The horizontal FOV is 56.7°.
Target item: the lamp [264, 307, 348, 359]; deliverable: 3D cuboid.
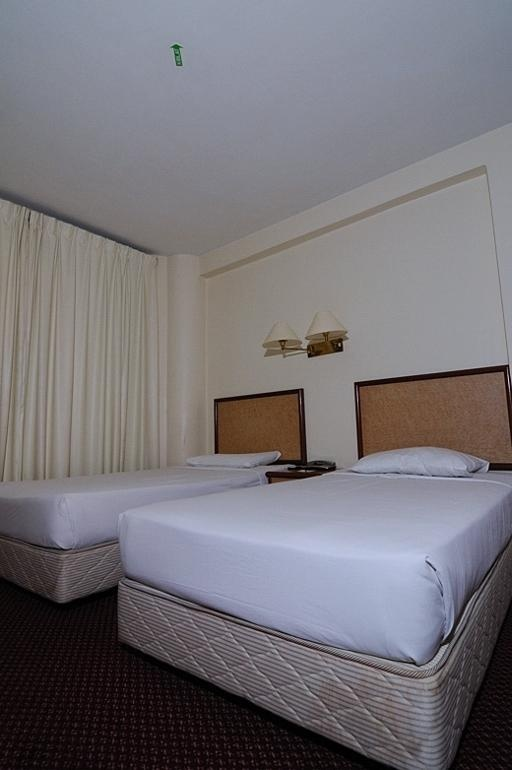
[{"bbox_3d":[0.332,-0.350,3.609,0.355,0.274,0.791,3,-8,-45],"label":"lamp"}]
